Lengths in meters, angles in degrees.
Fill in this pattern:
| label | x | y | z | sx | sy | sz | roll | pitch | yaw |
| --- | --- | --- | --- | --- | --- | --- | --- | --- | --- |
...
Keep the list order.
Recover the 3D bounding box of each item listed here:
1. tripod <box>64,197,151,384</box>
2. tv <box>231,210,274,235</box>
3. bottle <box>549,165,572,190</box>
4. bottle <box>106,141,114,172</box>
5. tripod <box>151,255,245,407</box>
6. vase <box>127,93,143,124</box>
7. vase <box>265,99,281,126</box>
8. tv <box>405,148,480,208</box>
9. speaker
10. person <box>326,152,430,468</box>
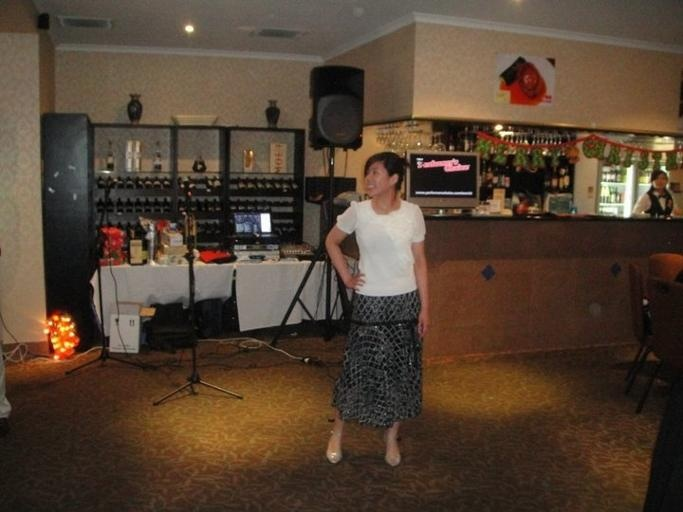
| label | x | y | z | sx | sy | sz | roll | pitch | yaw |
| --- | --- | --- | --- | --- | --- | --- | --- | --- | --- |
| tripod | -2.250 | 0.179 | 5.603 | 0.755 | 1.676 | 1.062 | -3 | 14 | -19 |
| tv | -0.994 | -0.387 | 6.610 | 0.431 | 0.243 | 0.280 | 1 | 7 | -9 |
| bottle | 3.527 | -1.246 | 9.427 | 0.441 | 0.402 | 0.124 | -7 | 15 | -31 |
| bottle | -2.974 | -1.280 | 7.509 | 0.119 | 0.374 | 0.317 | -4 | 14 | -21 |
| tripod | -1.431 | 0.718 | 5.725 | 0.942 | 1.543 | 0.892 | -1 | 16 | -11 |
| vase | -2.666 | -1.910 | 7.553 | 0.206 | 0.372 | 0.431 | -3 | 14 | -19 |
| vase | -0.928 | -1.938 | 7.928 | 0.203 | 0.366 | 0.494 | -1 | 13 | -7 |
| tv | 1.080 | -0.836 | 6.321 | 0.762 | 0.569 | 0.232 | 0 | 3 | -7 |
| speaker | -0.053 | -1.561 | 6.135 | 0.565 | 0.842 | 0.356 | 1 | 13 | -1 |
| person | 0.234 | 0.380 | 3.872 | 0.680 | 2.077 | 0.421 | 1 | 13 | -2 |
